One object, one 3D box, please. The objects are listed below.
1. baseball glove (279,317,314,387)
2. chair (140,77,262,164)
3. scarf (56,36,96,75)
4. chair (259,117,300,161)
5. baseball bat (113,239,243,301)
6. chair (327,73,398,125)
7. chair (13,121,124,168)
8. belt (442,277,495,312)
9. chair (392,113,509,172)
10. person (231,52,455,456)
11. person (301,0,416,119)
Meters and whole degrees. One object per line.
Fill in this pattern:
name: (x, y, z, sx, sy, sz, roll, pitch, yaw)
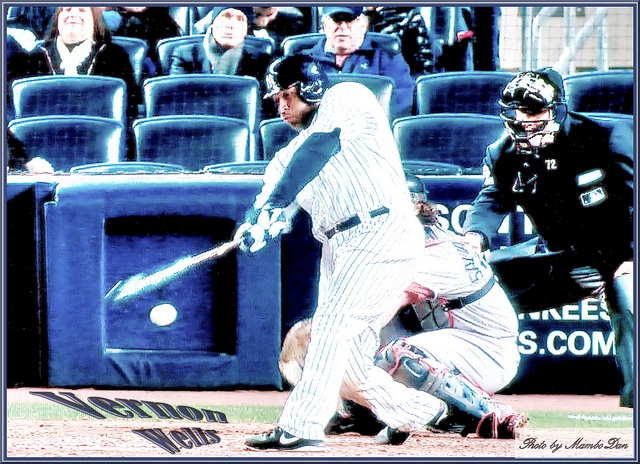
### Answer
baseball glove: (-0.151, 0.686, 8.955, 0.128, 0.360, 0.267, 13, -18, -12)
chair: (-0.755, -0.693, 9.972, 0.609, 0.779, 0.637, 0, -2, -3)
scarf: (-1.573, -1.146, 9.847, 0.210, 0.212, 0.009, 12, 6, -13)
chair: (-0.287, -0.597, 9.612, 0.235, 0.325, 0.266, 4, 15, 18)
baseball bat: (-0.862, 0.219, 9.308, 0.856, 0.120, 0.075, -21, -3, 1)
chair: (0.252, -0.825, 9.727, 0.314, 0.420, 0.347, -1, -3, -8)
chair: (-1.561, -0.548, 9.518, 0.670, 0.278, 0.209, 1, 5, -9)
belt: (0.853, 0.358, 8.994, 0.285, 0.178, 0.227, -1, 5, 14)
chair: (0.729, -0.545, 9.662, 0.821, 0.391, 0.396, 0, 11, -23)
person: (0.165, 0.135, 8.751, 1.074, 2.278, 0.488, 2, 5, 4)
person: (0.248, -1.073, 10.036, 0.633, 0.774, 0.892, 2, 3, -11)
